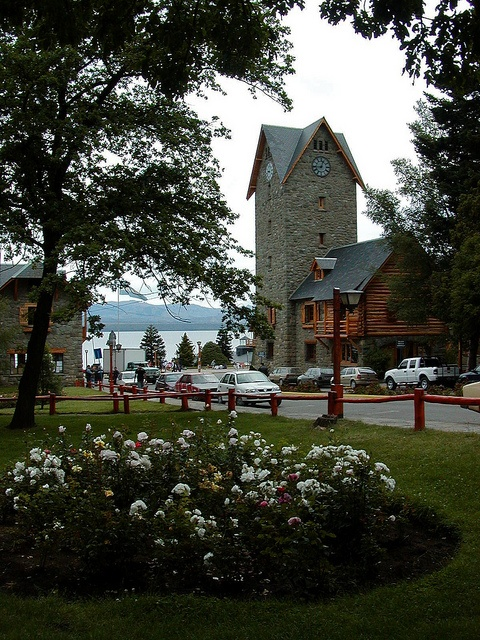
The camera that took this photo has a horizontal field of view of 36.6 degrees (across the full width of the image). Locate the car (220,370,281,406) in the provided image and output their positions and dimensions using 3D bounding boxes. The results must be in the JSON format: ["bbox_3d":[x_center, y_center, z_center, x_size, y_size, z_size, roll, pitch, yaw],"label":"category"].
[{"bbox_3d":[0.340,2.510,27.586,1.347,0.932,2.286,1,-8,-26],"label":"car"}]

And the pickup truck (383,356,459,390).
[{"bbox_3d":[8.337,2.554,32.838,2.136,1.675,4.441,4,-2,-26],"label":"pickup truck"}]

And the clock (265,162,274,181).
[{"bbox_3d":[2.215,-11.573,56.495,0.142,1.754,1.918,-1,4,-20],"label":"clock"}]

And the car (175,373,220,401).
[{"bbox_3d":[-1.844,2.930,32.035,1.383,0.817,2.036,2,-7,-31],"label":"car"}]

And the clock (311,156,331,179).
[{"bbox_3d":[6.042,-11.616,54.986,1.479,1.598,0.311,-7,8,-36],"label":"clock"}]
